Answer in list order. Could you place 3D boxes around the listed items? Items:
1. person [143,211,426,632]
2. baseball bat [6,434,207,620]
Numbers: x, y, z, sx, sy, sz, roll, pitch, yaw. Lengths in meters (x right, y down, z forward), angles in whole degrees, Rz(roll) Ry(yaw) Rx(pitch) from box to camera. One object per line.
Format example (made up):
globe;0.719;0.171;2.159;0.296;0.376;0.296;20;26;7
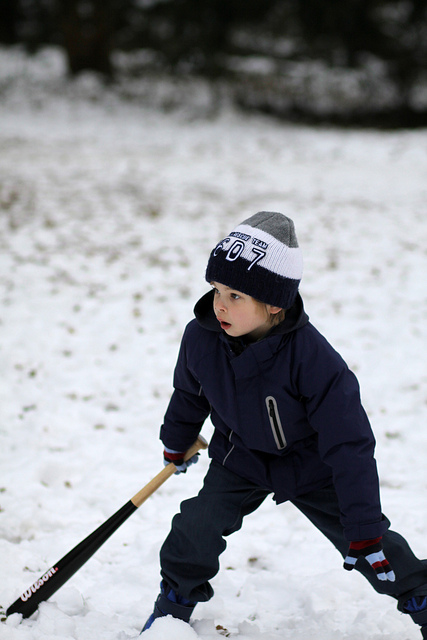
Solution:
person;0.339;0.510;3.899;1.344;2.002;0.578;8;6;14
baseball bat;-0.596;1.150;4.514;0.148;1.429;0.144;56;-6;-12
